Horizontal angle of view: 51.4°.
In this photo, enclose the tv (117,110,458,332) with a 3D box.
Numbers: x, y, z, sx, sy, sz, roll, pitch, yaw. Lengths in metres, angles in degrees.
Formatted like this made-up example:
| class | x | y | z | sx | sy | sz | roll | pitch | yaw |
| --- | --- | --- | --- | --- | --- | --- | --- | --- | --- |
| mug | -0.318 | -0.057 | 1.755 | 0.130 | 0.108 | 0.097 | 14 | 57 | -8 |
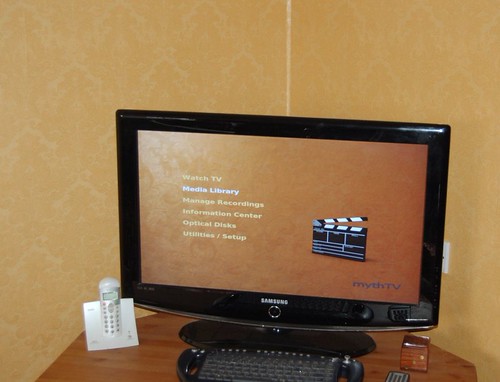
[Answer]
| class | x | y | z | sx | sy | sz | roll | pitch | yaw |
| --- | --- | --- | --- | --- | --- | --- | --- | --- | --- |
| tv | 0.096 | 0.127 | 1.770 | 1.084 | 0.251 | 0.701 | 3 | 96 | 7 |
